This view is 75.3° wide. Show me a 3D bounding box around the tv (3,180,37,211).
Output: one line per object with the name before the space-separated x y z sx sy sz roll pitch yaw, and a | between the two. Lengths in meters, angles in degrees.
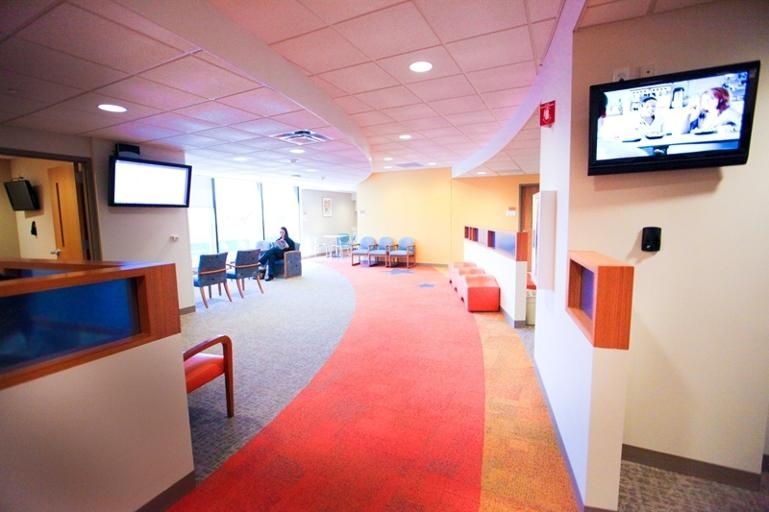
tv | -5.710 -0.952 7.827 0.468 0.472 0.145 -9 3 24

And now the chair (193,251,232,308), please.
chair | -3.025 0.377 8.707 0.386 0.878 0.783 2 9 20

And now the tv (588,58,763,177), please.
tv | 2.560 -1.184 4.269 1.062 0.760 0.087 -1 7 14

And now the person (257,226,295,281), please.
person | -2.460 -0.065 11.254 0.747 1.233 0.549 16 -18 -41

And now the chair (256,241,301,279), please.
chair | -2.466 0.041 11.155 0.579 0.925 1.229 3 9 25

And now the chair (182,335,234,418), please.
chair | -1.751 1.218 5.015 0.458 0.828 0.638 -4 9 -20
